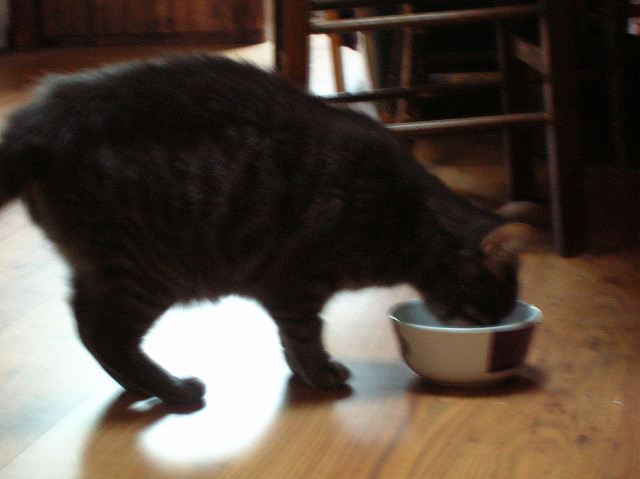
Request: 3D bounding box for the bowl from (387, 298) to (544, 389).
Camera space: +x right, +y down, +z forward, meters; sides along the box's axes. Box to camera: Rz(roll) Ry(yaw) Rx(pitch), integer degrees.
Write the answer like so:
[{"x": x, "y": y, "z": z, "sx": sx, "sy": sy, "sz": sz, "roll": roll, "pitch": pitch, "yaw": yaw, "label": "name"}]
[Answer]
[{"x": 0.268, "y": 0.188, "z": 1.112, "sx": 0.297, "sy": 0.083, "sz": 0.244, "roll": -6, "pitch": 9, "yaw": -18, "label": "bowl"}]
